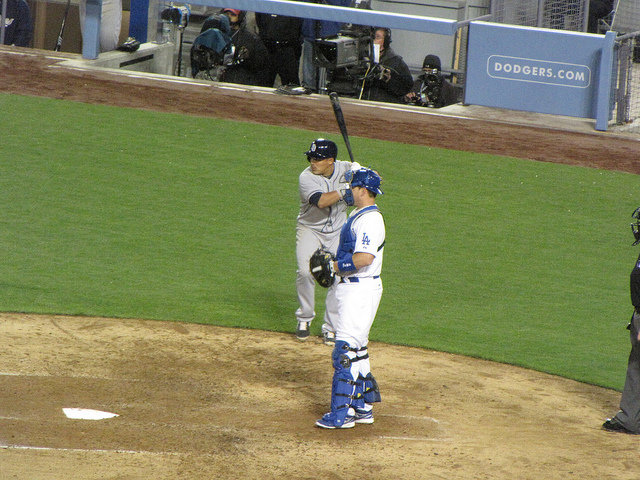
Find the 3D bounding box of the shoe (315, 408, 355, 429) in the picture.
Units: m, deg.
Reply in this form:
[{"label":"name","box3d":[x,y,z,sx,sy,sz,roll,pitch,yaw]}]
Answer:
[{"label":"shoe","box3d":[0.178,2.330,22.934,0.633,0.316,0.206,5,12,-4]}]

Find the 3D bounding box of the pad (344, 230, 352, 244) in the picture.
[{"label":"pad","box3d":[0.363,-0.028,22.867,0.056,0.113,0.097,2,8,17]}]

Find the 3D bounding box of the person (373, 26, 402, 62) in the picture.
[{"label":"person","box3d":[1.179,-3.564,31.664,0.430,0.626,0.514,3,10,-7]}]

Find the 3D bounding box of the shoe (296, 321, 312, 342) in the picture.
[{"label":"shoe","box3d":[-0.217,1.282,24.722,0.218,0.285,0.221,0,11,-18]}]

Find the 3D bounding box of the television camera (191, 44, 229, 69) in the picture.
[{"label":"television camera","box3d":[-2.038,-3.330,31.615,0.565,0.456,0.419,32,12,21]}]

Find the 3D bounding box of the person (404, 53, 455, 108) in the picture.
[{"label":"person","box3d":[1.955,-2.917,31.886,0.724,0.955,0.802,7,11,16]}]

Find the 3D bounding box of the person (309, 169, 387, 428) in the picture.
[{"label":"person","box3d":[0.396,0.784,22.812,0.909,3.345,0.797,3,12,-5]}]

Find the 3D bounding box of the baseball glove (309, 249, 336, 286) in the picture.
[{"label":"baseball glove","box3d":[0.103,0.376,23.075,0.355,0.399,0.187,5,20,44]}]

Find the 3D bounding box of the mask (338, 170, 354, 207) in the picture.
[{"label":"mask","box3d":[0.370,-0.702,23.456,0.303,0.401,0.344,3,12,5]}]

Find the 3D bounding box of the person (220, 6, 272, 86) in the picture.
[{"label":"person","box3d":[-1.308,-3.528,32.024,0.922,1.343,1.286,3,10,-4]}]

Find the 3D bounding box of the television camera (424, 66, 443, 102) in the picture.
[{"label":"television camera","box3d":[2.049,-2.848,31.720,0.341,0.675,0.505,5,11,3]}]

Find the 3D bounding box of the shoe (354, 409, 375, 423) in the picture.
[{"label":"shoe","box3d":[0.591,2.314,22.944,0.331,0.198,0.111,-1,12,-25]}]
